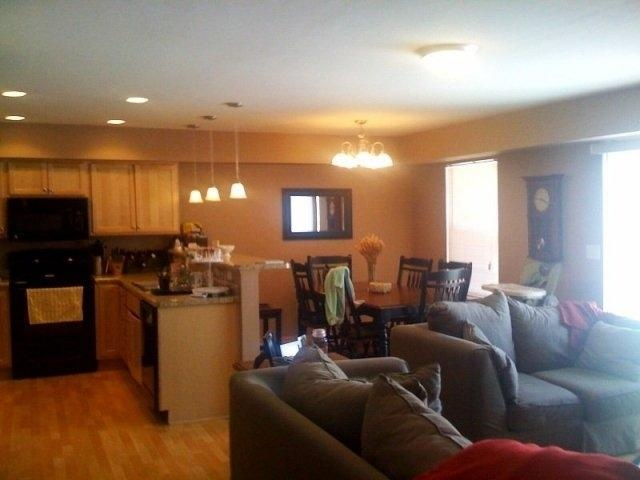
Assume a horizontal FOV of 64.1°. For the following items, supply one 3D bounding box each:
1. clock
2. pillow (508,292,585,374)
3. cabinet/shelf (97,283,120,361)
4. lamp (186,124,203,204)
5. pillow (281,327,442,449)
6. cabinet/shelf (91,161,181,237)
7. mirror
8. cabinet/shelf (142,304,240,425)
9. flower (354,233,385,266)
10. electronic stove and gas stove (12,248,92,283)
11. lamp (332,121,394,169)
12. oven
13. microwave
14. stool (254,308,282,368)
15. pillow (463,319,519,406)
[{"bbox_3d":[2.558,-0.244,5.870,0.148,0.984,0.495,-2,5,-33],"label":"clock"},{"bbox_3d":[1.902,0.814,4.295,0.700,0.559,0.266,-4,18,-19],"label":"pillow"},{"bbox_3d":[-2.497,0.948,6.032,0.254,0.953,0.140,-1,4,-24],"label":"cabinet/shelf"},{"bbox_3d":[-1.618,-0.957,6.612,0.182,0.970,0.642,0,4,-13],"label":"lamp"},{"bbox_3d":[0.098,0.773,2.768,0.836,0.438,0.864,-2,-17,-4],"label":"pillow"},{"bbox_3d":[-2.342,-0.526,6.387,0.960,0.835,0.369,-1,-1,-20],"label":"cabinet/shelf"},{"bbox_3d":[-0.090,-0.396,7.517,0.781,0.553,0.031,-1,5,-16],"label":"mirror"},{"bbox_3d":[-1.231,1.027,4.885,0.901,1.089,0.919,-4,9,-39],"label":"cabinet/shelf"},{"bbox_3d":[0.653,0.103,6.062,0.363,0.396,0.367,-2,3,-17],"label":"flower"},{"bbox_3d":[-3.182,0.291,6.021,0.940,0.345,0.785,-1,4,-22],"label":"electronic stove and gas stove"},{"bbox_3d":[0.531,-1.269,6.502,0.789,0.539,0.764,-12,18,-35],"label":"lamp"},{"bbox_3d":[-3.096,0.894,6.003,0.857,1.137,0.816,0,10,-23],"label":"oven"},{"bbox_3d":[-3.160,-0.242,5.968,0.885,0.567,0.487,0,8,-15],"label":"microwave"},{"bbox_3d":[-0.641,1.158,6.362,0.371,0.547,0.365,17,-21,-36],"label":"stool"},{"bbox_3d":[1.241,0.831,3.437,0.139,0.456,0.456,-24,34,0],"label":"pillow"}]
